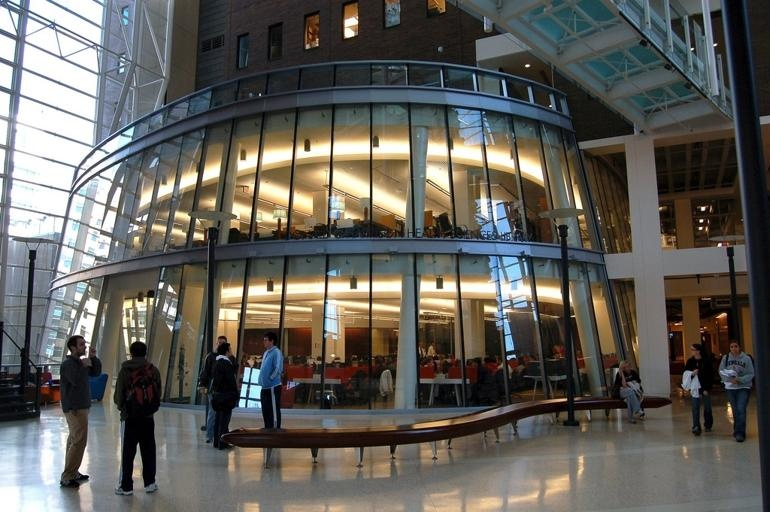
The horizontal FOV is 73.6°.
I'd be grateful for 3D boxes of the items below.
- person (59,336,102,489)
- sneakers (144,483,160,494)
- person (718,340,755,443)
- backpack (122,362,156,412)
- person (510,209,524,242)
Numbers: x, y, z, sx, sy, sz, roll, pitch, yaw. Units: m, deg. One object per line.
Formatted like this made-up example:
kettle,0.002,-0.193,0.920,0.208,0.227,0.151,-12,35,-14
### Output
person,-6.248,3.074,10.382,0.597,2.939,0.763,3,-9,-27
sneakers,-4.443,4.419,9.796,0.102,0.098,0.248,-1,-7,31
person,9.262,3.455,13.461,0.734,2.489,1.551,-6,-9,33
backpack,-4.683,2.537,9.885,0.589,1.017,0.298,2,-8,-19
person,5.098,-1.261,19.886,0.527,1.262,0.202,3,-9,-28
